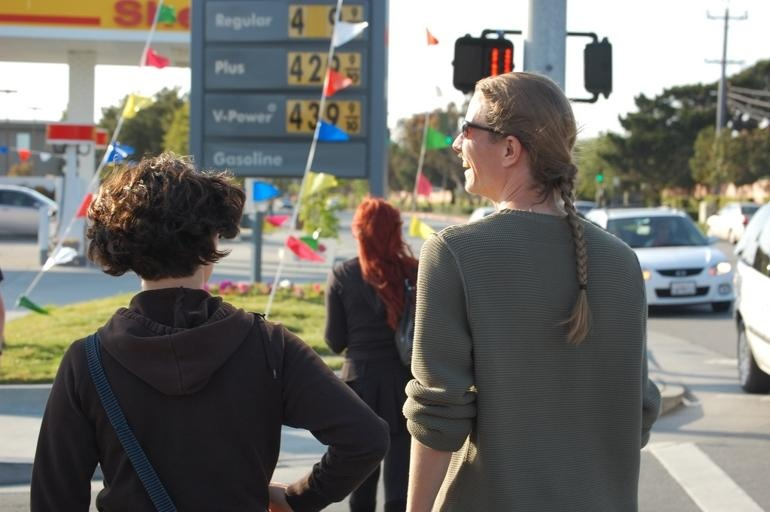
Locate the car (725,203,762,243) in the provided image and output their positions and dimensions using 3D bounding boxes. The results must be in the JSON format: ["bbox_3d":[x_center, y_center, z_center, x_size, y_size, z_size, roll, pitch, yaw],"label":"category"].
[{"bbox_3d":[8.666,-0.781,38.749,1.095,0.809,2.306,-1,4,3],"label":"car"}]
